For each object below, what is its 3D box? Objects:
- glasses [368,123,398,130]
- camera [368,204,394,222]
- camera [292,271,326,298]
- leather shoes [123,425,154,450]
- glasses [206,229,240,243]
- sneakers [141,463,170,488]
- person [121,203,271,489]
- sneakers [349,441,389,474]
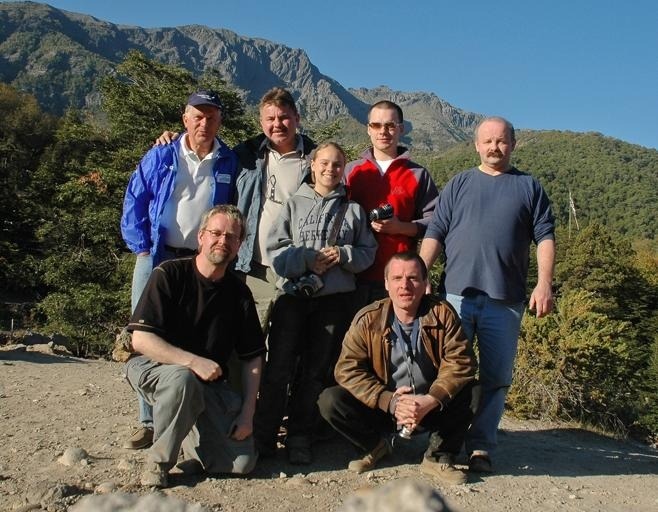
[{"bbox_3d":[0.590,-1.415,5.782,0.307,0.076,0.100,3,-5,13],"label":"glasses"},{"bbox_3d":[0.526,-0.431,5.369,0.130,0.099,0.254,15,16,41],"label":"camera"},{"bbox_3d":[-0.188,0.282,5.117,0.262,0.190,0.253,-13,16,5],"label":"camera"},{"bbox_3d":[-1.836,1.784,5.251,0.169,0.189,0.513,-1,-12,17],"label":"leather shoes"},{"bbox_3d":[-0.933,-0.181,4.686,0.306,0.081,0.090,6,-5,-16],"label":"glasses"},{"bbox_3d":[-1.391,1.754,4.236,0.205,0.168,0.188,6,-5,-16],"label":"sneakers"},{"bbox_3d":[-1.126,0.702,4.688,1.229,2.356,0.715,6,-5,-21],"label":"person"},{"bbox_3d":[0.368,1.891,5.010,0.155,0.211,0.478,-3,-10,34],"label":"sneakers"}]
